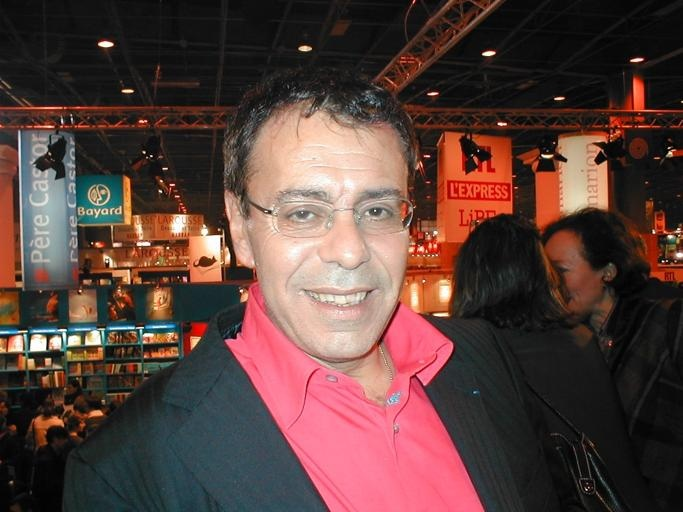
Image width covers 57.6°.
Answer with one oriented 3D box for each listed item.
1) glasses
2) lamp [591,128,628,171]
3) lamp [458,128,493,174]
[{"bbox_3d":[-0.047,-0.175,2.744,0.731,0.182,0.130,-2,2,-6],"label":"glasses"},{"bbox_3d":[4.551,-1.842,10.858,0.709,0.485,0.722,0,-36,29],"label":"lamp"},{"bbox_3d":[2.160,-1.779,10.536,0.665,0.658,0.261,-27,20,5],"label":"lamp"}]
